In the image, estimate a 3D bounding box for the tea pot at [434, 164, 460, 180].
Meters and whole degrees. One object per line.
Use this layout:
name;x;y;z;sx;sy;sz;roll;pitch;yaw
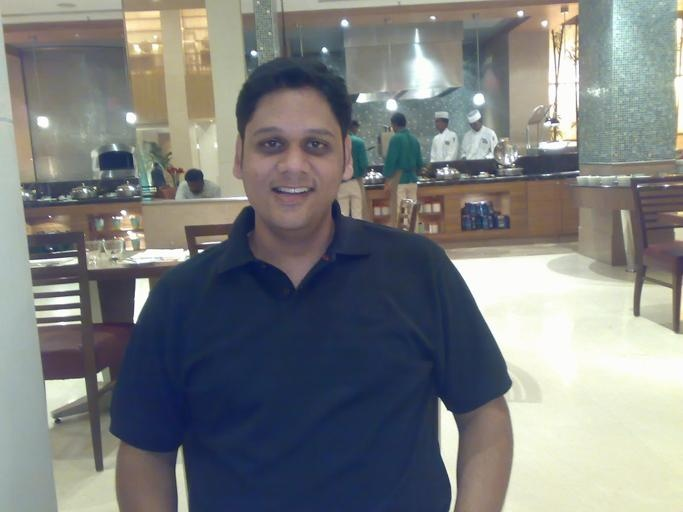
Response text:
tea pot;1.496;-1.171;8.412;0.243;0.106;0.258;-1;22;0

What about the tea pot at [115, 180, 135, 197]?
tea pot;-2.969;-0.901;8.119;0.309;0.233;0.317;3;19;-1

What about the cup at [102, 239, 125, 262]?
cup;-1.426;-0.038;3.695;0.113;0.142;0.119;3;13;-1

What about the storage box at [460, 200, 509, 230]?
storage box;1.962;-0.556;8.354;0.467;0.333;0.458;-1;6;-16

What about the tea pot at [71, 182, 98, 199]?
tea pot;-3.530;-0.855;8.114;0.349;0.237;0.364;1;11;0

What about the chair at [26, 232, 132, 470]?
chair;-1.430;0.451;3.011;0.534;0.967;0.604;-11;8;-17

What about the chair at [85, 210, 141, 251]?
chair;-3.091;-0.412;8.205;0.729;0.554;0.421;1;16;-15
